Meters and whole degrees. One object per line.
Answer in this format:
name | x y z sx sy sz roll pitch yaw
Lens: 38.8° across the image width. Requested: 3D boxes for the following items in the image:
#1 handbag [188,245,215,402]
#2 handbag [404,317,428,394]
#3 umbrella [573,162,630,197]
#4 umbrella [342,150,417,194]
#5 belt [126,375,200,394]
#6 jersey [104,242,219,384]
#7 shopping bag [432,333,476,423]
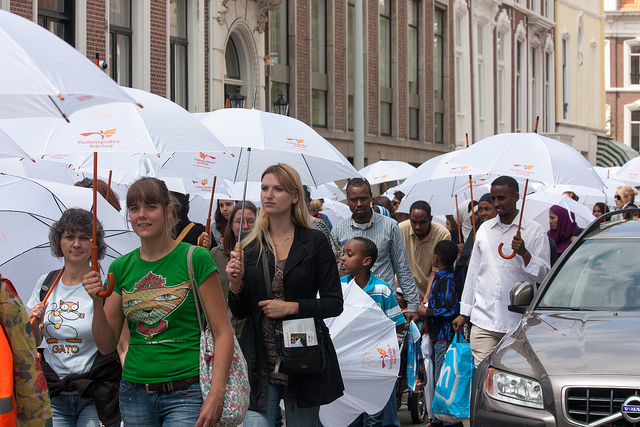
handbag | -0.847 0.779 6.493 0.147 1.078 0.251 -3 4 -28
handbag | 1.036 1.608 9.975 0.221 0.801 0.527 -1 4 9
umbrella | 5.016 -0.559 16.045 1.060 0.522 1.033 -1 4 -4
umbrella | 1.499 -0.937 20.631 1.168 0.989 1.131 -5 -8 -2
belt | -1.132 1.225 6.501 0.520 0.133 0.068 -1 4 7
jersey | -1.124 0.721 6.520 0.947 0.873 0.509 -5 -14 4
shopping bag | 1.492 1.818 9.924 0.360 0.877 0.394 -4 5 -40
